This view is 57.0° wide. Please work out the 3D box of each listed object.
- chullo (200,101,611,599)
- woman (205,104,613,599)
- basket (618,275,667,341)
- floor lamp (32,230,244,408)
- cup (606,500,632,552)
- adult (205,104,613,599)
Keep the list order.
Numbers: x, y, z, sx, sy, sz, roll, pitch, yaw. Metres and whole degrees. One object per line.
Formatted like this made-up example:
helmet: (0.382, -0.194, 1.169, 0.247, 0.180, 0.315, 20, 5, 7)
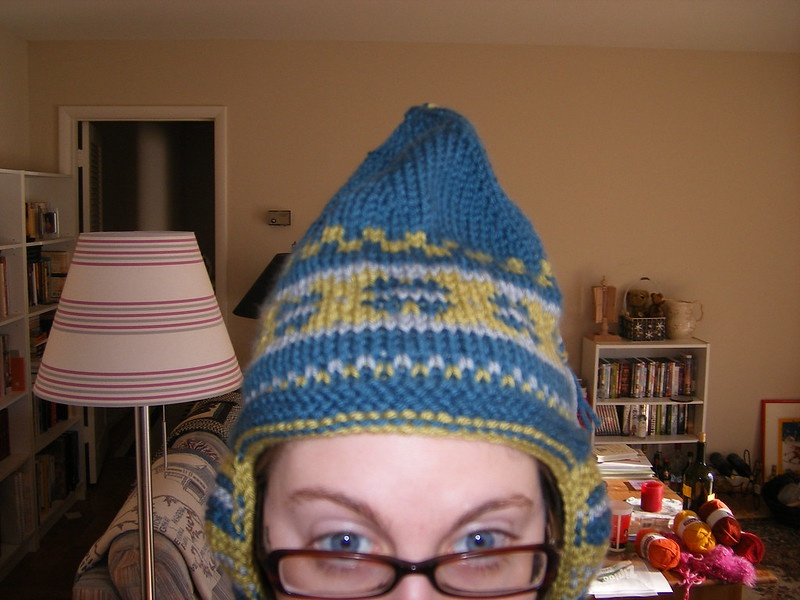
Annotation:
chullo: (0.051, 0.074, 2.308, 1.190, 1.714, 1.065, 0, -4, -1)
woman: (0.052, 0.090, 2.308, 1.190, 1.708, 1.064, 0, -4, -1)
basket: (1.655, 0.059, 4.974, 0.293, 0.424, 0.288, 3, 3, 2)
floor lamp: (-0.949, 0.079, 2.781, 0.614, 0.594, 0.636, 0, 0, 2)
cup: (0.953, 1.001, 3.257, 0.121, 0.201, 0.123, 3, 1, 0)
adult: (0.063, 0.090, 2.308, 1.190, 1.708, 1.064, 0, -4, -1)
